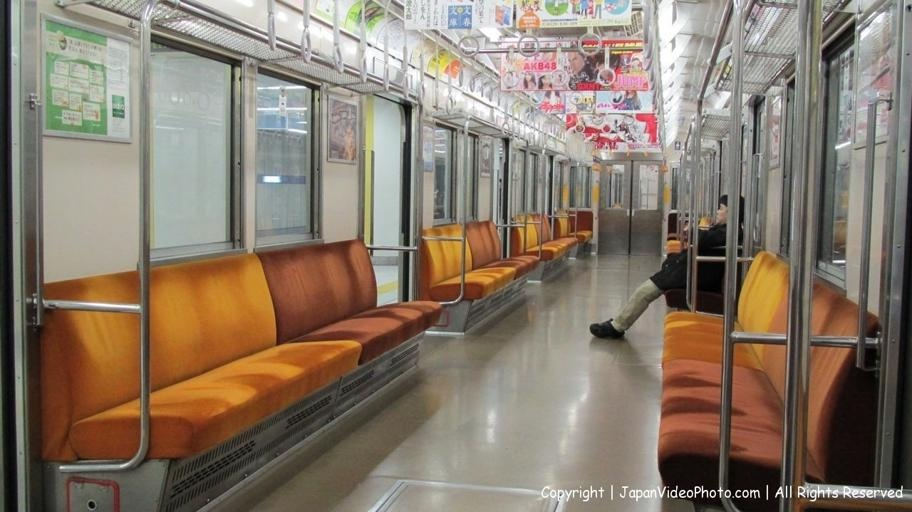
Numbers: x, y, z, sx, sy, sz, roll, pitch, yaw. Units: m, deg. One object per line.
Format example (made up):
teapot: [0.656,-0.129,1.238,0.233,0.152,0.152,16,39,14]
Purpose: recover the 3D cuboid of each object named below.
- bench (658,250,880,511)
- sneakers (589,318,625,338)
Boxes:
bench: [1.742,0.716,3.270,0.514,0.497,1.701,1,5,16]
sneakers: [1.795,0.868,7.001,0.377,0.165,0.200,5,2,10]
